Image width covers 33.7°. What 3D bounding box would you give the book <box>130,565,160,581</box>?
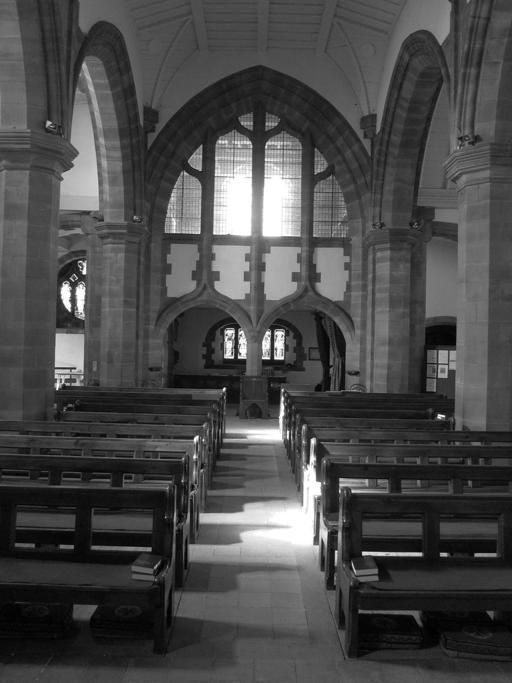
[{"bbox_3d":[-0.525,1.078,3.925,0.105,0.060,0.068,3,-13,-4],"label":"book"}]
